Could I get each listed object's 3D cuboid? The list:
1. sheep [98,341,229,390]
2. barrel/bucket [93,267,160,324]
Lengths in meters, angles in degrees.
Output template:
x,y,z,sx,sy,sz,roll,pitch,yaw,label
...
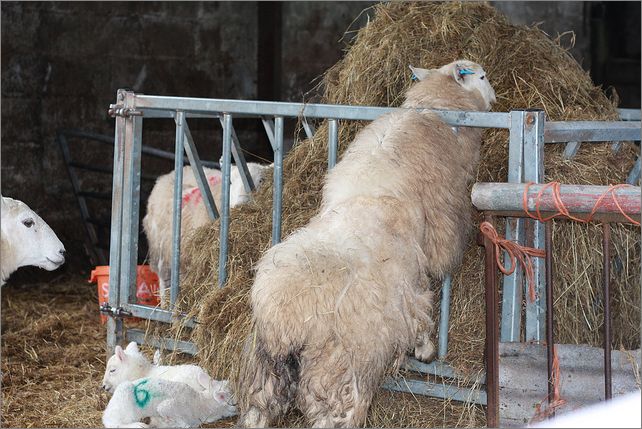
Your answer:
x,y,z,sx,sy,sz,roll,pitch,yaw,label
-1.394,1.420,12.056,1.229,0.771,0.489,-2,-6,12,sheep
-2.067,0.750,13.570,0.824,0.674,0.559,0,0,-14,barrel/bucket
